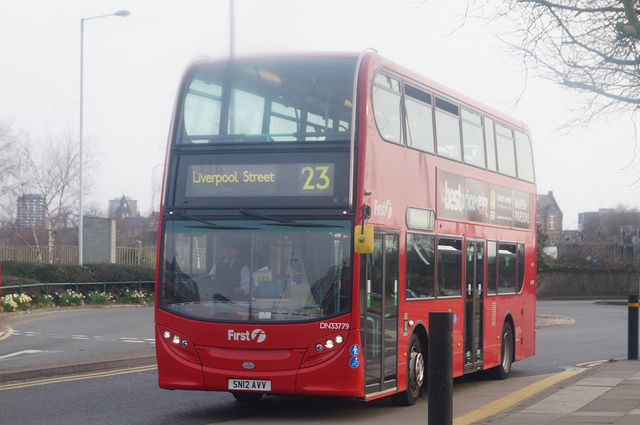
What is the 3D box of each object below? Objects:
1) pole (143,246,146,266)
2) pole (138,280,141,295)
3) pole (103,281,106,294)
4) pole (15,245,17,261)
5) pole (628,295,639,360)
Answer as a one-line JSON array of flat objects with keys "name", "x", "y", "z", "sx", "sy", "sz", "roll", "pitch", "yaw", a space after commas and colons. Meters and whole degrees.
[{"name": "pole", "x": -10.719, "y": 2.661, "z": 43.206, "sx": 0.151, "sy": 1.070, "sz": 0.526, "roll": 1, "pitch": -1, "yaw": -16}, {"name": "pole", "x": -9.760, "y": 3.947, "z": 38.242, "sx": 0.139, "sy": 0.603, "sz": 0.836, "roll": 1, "pitch": -2, "yaw": -14}, {"name": "pole", "x": -11.060, "y": 3.814, "z": 36.418, "sx": 0.127, "sy": 0.557, "sz": 0.539, "roll": 1, "pitch": -2, "yaw": -17}, {"name": "pole", "x": -16.436, "y": 2.168, "z": 38.556, "sx": 0.114, "sy": 0.673, "sz": 0.643, "roll": 1, "pitch": -2, "yaw": -26}, {"name": "pole", "x": 7.837, "y": 2.936, "z": 18.265, "sx": 0.233, "sy": 1.629, "sz": 0.509, "roll": 0, "pitch": -1, "yaw": 24}]
